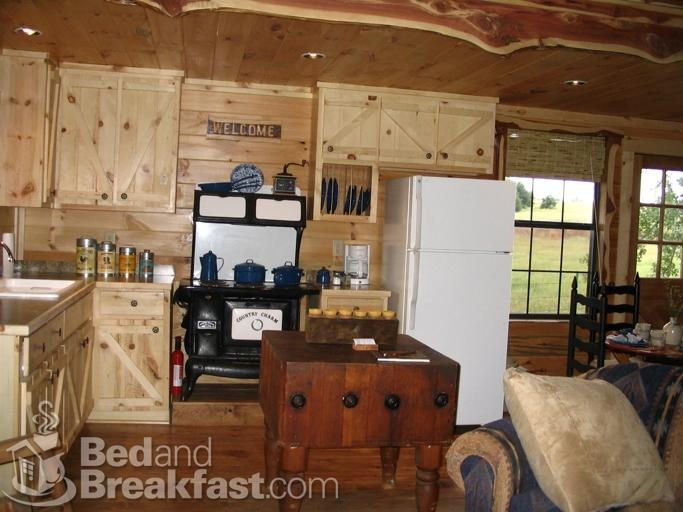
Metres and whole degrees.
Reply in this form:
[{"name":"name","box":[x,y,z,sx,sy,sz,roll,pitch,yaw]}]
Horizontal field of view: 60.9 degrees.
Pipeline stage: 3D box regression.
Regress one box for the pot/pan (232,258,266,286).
[{"name":"pot/pan","box":[-0.741,0.134,4.709,0.251,0.145,0.197,1,3,6]}]

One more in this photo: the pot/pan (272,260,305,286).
[{"name":"pot/pan","box":[-0.439,0.162,4.787,0.249,0.162,0.165,2,-1,-4]}]

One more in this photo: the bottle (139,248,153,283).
[{"name":"bottle","box":[-1.593,0.075,4.722,0.122,0.187,0.362,1,10,-19]}]

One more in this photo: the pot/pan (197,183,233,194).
[{"name":"pot/pan","box":[-1.049,-0.568,4.823,0.261,0.083,0.335,2,9,-13]}]

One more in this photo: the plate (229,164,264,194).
[{"name":"plate","box":[-0.790,-0.644,4.845,0.264,0.232,0.267,0,11,-24]}]

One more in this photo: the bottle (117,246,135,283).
[{"name":"bottle","box":[-1.706,0.056,4.606,0.133,0.238,0.413,1,10,-21]}]

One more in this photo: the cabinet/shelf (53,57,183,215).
[{"name":"cabinet/shelf","box":[-1.823,-0.996,4.638,1.412,1.351,0.577,2,1,-5]}]

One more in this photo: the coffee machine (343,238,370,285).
[{"name":"coffee machine","box":[0.151,0.074,5.075,0.263,0.311,0.423,4,10,-3]}]

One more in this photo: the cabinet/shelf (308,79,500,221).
[{"name":"cabinet/shelf","box":[0.530,-0.916,4.896,1.497,0.810,0.266,1,-1,-9]}]

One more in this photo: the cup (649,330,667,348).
[{"name":"cup","box":[2.413,0.640,4.430,0.134,0.121,0.124,1,-4,0]}]

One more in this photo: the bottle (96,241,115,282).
[{"name":"bottle","box":[-1.855,0.025,4.570,0.133,0.263,0.303,1,11,-23]}]

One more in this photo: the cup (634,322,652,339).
[{"name":"cup","box":[2.421,0.600,4.658,0.141,0.121,0.125,1,5,4]}]

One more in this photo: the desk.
[{"name":"desk","box":[0.106,0.886,3.105,1.013,0.834,0.968,0,-6,-4]}]

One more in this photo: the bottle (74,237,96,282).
[{"name":"bottle","box":[-2.012,0.006,4.571,0.146,0.285,0.283,1,12,-22]}]

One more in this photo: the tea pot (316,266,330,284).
[{"name":"tea pot","box":[-0.154,0.174,4.981,0.119,0.125,0.162,4,10,-4]}]
